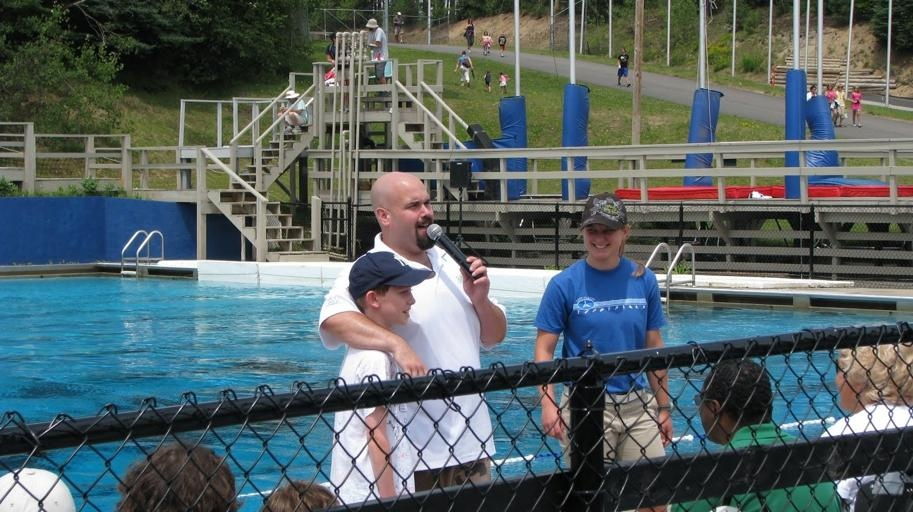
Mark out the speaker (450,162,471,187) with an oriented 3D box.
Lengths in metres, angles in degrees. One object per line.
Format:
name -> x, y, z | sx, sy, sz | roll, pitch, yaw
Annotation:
speaker -> 0.262, -3.176, 53.672 | 0.865, 0.943, 0.910 | 0, -1, -7
